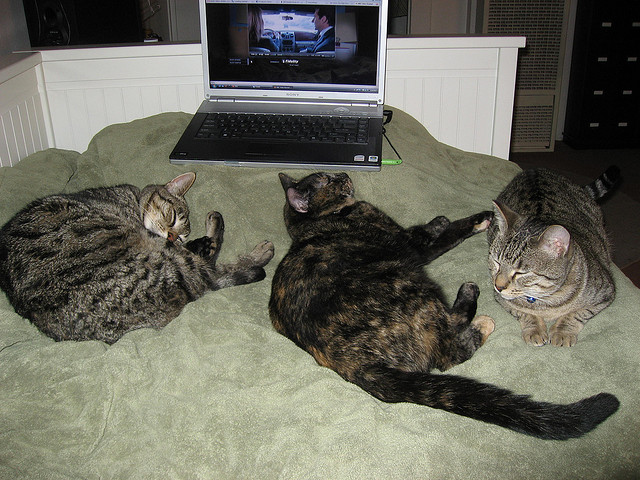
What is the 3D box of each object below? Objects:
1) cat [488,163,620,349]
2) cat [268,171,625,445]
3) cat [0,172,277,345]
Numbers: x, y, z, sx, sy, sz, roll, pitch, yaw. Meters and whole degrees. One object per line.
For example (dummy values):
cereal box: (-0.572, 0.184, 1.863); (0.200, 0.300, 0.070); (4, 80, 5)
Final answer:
cat: (0.856, 0.023, 1.743); (0.441, 0.378, 0.745); (-4, 46, 21)
cat: (0.244, 0.110, 1.516); (0.804, 0.346, 1.265); (-11, 28, -24)
cat: (-0.637, 0.065, 1.589); (0.660, 0.172, 0.575); (-7, 48, -20)
